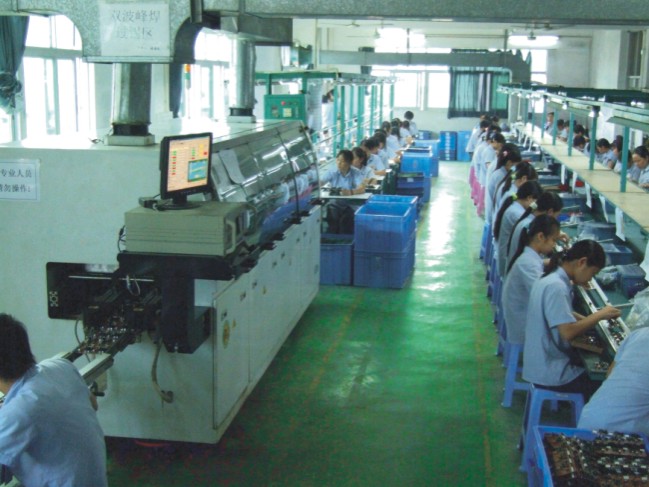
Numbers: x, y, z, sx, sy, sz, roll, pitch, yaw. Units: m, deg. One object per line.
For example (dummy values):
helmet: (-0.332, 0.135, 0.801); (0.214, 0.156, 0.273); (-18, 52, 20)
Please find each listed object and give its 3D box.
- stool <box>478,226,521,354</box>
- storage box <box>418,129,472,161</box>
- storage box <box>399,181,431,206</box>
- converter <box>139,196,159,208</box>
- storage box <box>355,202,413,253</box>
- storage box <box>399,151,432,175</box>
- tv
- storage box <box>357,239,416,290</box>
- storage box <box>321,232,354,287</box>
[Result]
stool: (1.613, 0.450, 5.539); (0.200, 0.303, 1.304); (-6, 42, 14)
storage box: (3.603, -2.632, 18.147); (1.427, 0.987, 1.561); (0, 19, 6)
storage box: (1.650, -0.964, 11.229); (0.458, 0.352, 0.477); (1, 8, 12)
converter: (-1.043, -0.245, 3.596); (0.073, 0.039, 0.107); (3, 15, 0)
storage box: (0.671, -0.088, 7.372); (0.602, 0.483, 1.035); (4, 0, 7)
storage box: (1.847, -1.598, 12.141); (0.520, 0.386, 0.549); (1, 11, 8)
tv: (-0.835, -0.419, 3.582); (0.175, 0.381, 0.433); (4, 11, 13)
storage box: (0.639, 0.330, 7.457); (0.621, 0.401, 0.996); (3, -4, 9)
storage box: (0.047, 0.225, 7.383); (0.386, 0.503, 0.652); (3, 2, -10)
